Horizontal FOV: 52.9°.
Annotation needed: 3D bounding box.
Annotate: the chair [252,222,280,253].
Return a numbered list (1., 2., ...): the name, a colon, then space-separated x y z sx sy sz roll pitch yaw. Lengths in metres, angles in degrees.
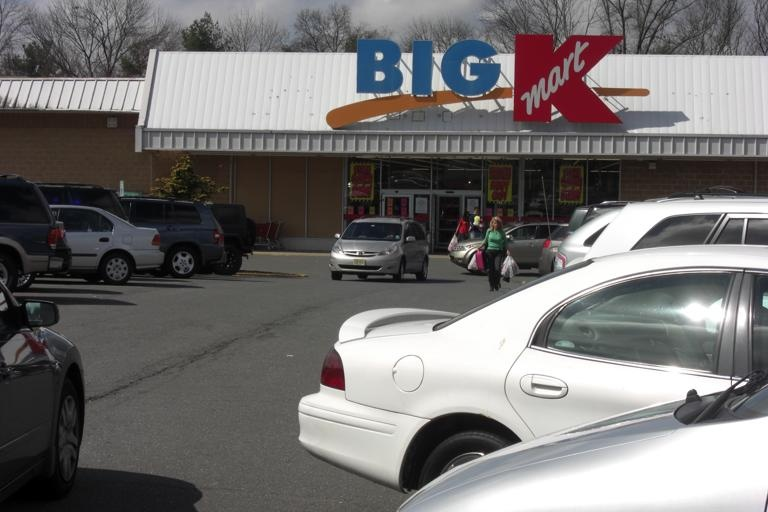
1. chair: -5.507 -0.968 36.187 0.964 1.121 1.697 0 -7 6

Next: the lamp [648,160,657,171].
1. lamp: 12.502 -4.198 35.898 0.351 0.404 0.390 -2 7 -5
